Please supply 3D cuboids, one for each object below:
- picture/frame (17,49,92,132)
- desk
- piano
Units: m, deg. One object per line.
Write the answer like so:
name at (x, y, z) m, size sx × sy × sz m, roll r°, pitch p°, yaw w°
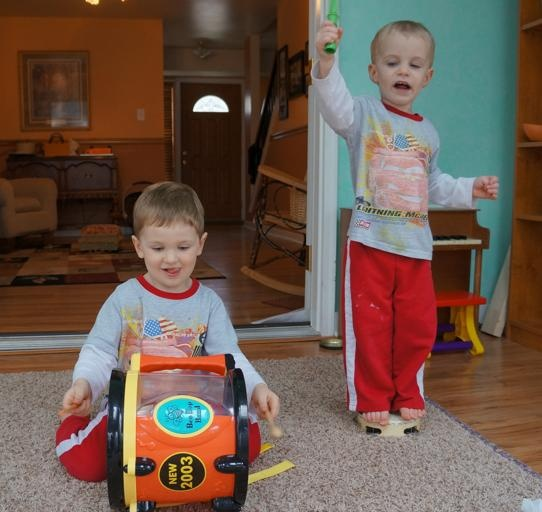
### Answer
picture/frame at (-2.632, -2.028, 6.342) m, size 0.916 × 1.162 × 0.078 m, roll 0°, pitch 7°, yaw 0°
desk at (-2.344, -0.771, 5.881) m, size 0.816 × 0.654 × 0.302 m, roll -1°, pitch 6°, yaw -11°
piano at (0.480, 0.049, 1.775) m, size 0.540 × 0.549 × 0.292 m, roll 0°, pitch 4°, yaw -11°
